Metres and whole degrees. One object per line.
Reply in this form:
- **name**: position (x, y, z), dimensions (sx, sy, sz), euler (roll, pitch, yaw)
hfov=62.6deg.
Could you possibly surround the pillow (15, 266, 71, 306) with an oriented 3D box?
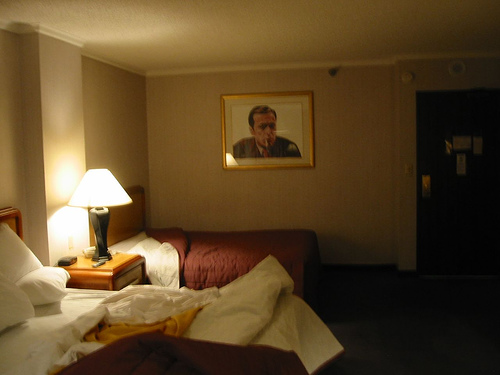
- **pillow**: position (-1.656, 0.764, 3.337), dimensions (0.297, 0.249, 0.347), euler (9, 6, -16)

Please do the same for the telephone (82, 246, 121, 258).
- **telephone**: position (-1.502, 0.620, 4.052), dimensions (0.156, 0.059, 0.185), euler (5, 7, 43)

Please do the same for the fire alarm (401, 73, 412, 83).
- **fire alarm**: position (1.970, -1.386, 5.175), dimensions (0.123, 0.109, 0.049), euler (3, 13, 20)

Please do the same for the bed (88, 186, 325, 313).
- **bed**: position (-0.451, 0.692, 4.742), dimensions (1.838, 1.112, 1.447), euler (-1, 8, 4)
